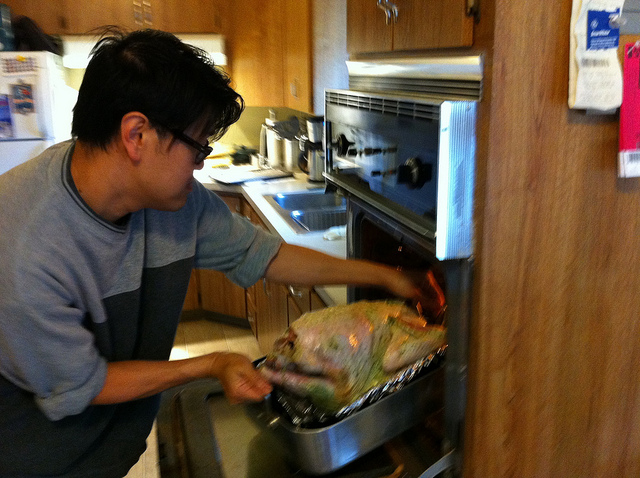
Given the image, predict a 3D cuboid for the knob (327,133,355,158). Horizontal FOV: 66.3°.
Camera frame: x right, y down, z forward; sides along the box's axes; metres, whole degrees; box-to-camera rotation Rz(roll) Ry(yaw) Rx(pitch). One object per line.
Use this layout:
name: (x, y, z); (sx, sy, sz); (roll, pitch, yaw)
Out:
knob: (0.060, -0.267, 1.407); (0.023, 0.052, 0.065); (-16, 14, -39)

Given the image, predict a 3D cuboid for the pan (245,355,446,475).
pan: (0.056, 0.376, 1.071); (0.440, 0.173, 0.158); (-4, 13, -7)

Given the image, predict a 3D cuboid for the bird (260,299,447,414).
bird: (0.087, 0.218, 1.189); (0.428, 0.130, 0.340); (-23, 22, -25)

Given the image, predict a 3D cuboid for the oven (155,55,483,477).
oven: (-0.017, 0.025, 1.639); (0.927, 1.456, 0.966); (-2, 12, -17)
